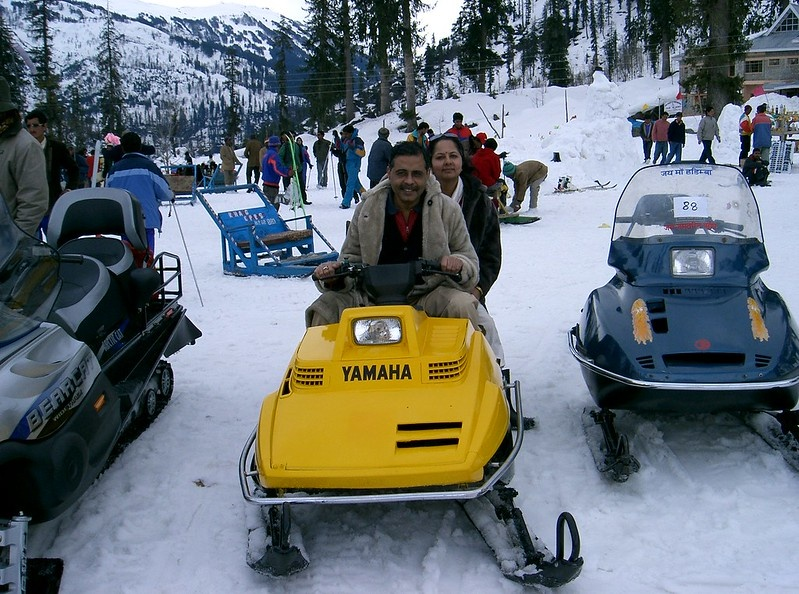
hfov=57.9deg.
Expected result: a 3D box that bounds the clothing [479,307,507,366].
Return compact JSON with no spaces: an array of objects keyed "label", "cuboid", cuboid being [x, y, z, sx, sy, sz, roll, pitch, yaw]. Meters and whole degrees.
[{"label":"clothing","cuboid":[0.726,0.317,5.539,0.276,0.396,0.149,-30,55,-7]}]

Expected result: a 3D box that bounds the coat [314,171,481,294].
[{"label":"coat","cuboid":[0.020,-0.502,5.572,1.083,1.028,0.669,2,20,-2]}]

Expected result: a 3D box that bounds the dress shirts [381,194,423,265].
[{"label":"dress shirts","cuboid":[0.015,-0.495,5.541,0.275,0.594,0.154,0,5,8]}]

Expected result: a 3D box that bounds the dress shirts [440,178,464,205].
[{"label":"dress shirts","cuboid":[0.498,-0.897,6.191,0.151,0.224,0.099,-1,-4,8]}]

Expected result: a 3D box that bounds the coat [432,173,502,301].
[{"label":"coat","cuboid":[0.590,-0.575,6.165,0.180,0.890,0.526,-1,6,25]}]

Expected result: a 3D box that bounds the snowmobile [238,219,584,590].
[{"label":"snowmobile","cuboid":[-0.016,0.845,4.550,1.877,1.546,1.303,-5,18,4]}]
